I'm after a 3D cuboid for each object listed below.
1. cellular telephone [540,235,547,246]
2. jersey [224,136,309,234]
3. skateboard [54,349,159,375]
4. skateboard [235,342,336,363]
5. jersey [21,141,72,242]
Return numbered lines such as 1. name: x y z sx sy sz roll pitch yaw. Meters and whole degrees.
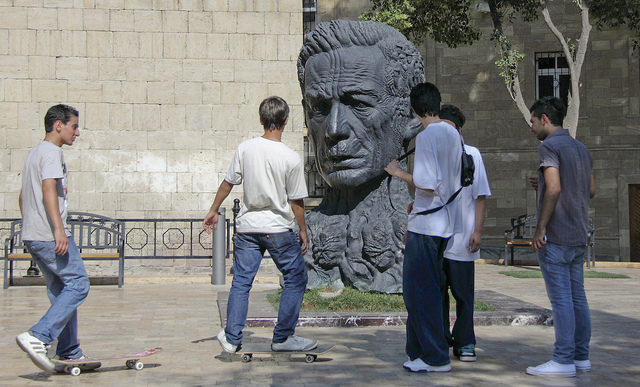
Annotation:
1. cellular telephone: 4.344 0.871 19.730 0.088 0.137 0.079 14 17 39
2. jersey: -1.038 -0.172 20.095 1.497 1.921 0.324 -1 2 -2
3. skateboard: -4.190 3.309 19.835 2.404 0.327 0.487 0 0 -22
4. skateboard: -0.709 3.144 20.050 1.702 0.235 0.378 2 5 2
5. jersey: -5.397 -0.050 19.905 0.981 1.969 0.489 -2 2 -6
